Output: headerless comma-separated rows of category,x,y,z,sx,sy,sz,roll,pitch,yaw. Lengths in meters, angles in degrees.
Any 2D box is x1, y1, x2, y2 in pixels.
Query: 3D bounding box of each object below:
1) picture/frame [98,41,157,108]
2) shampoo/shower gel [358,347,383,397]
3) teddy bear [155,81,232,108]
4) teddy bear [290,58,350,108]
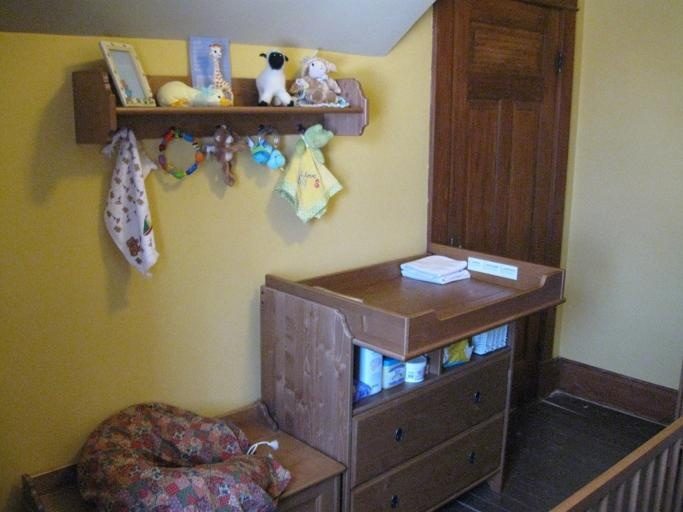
picture/frame,-0.748,-0.652,2.041,0.176,0.220,0.194,-21,34,-35
shampoo/shower gel,0.118,0.472,2.306,0.104,0.181,0.123,1,27,1
teddy bear,-0.558,-0.617,2.175,0.277,0.088,0.115,-9,28,-17
teddy bear,-0.088,-0.724,2.525,0.278,0.276,0.200,-14,24,-35
